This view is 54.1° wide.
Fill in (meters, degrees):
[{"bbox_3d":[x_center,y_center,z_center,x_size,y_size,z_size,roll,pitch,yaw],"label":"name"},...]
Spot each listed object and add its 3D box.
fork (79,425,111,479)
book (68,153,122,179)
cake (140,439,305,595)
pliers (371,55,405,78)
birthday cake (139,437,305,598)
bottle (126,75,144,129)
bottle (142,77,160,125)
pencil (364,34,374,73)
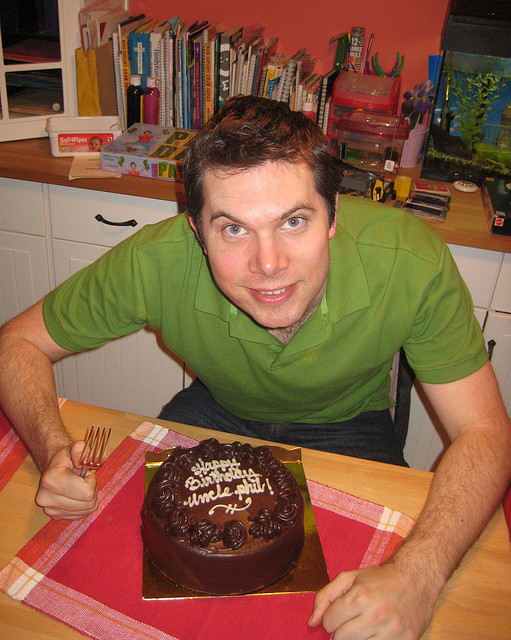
[{"bbox_3d":[-0.280,0.216,0.869,0.046,0.025,0.183,1,9,-13],"label":"fork"},{"bbox_3d":[-0.626,-0.582,1.900,0.190,0.024,0.167,-1,41,-3],"label":"book"},{"bbox_3d":[-0.054,0.276,0.748,0.190,0.061,0.176,0,28,-7],"label":"cake"},{"bbox_3d":[0.552,-1.066,2.133,0.150,0.117,0.014,-5,-6,-1],"label":"pliers"},{"bbox_3d":[-0.046,0.285,0.785,0.260,0.088,0.253,16,27,19],"label":"birthday cake"},{"bbox_3d":[-0.501,-0.917,2.105,0.072,0.203,0.061,0,26,-12],"label":"bottle"},{"bbox_3d":[-0.434,-0.916,2.101,0.059,0.175,0.070,-2,26,-17],"label":"bottle"},{"bbox_3d":[0.487,-1.167,2.145,0.013,0.107,0.012,17,3,6],"label":"pencil"}]
